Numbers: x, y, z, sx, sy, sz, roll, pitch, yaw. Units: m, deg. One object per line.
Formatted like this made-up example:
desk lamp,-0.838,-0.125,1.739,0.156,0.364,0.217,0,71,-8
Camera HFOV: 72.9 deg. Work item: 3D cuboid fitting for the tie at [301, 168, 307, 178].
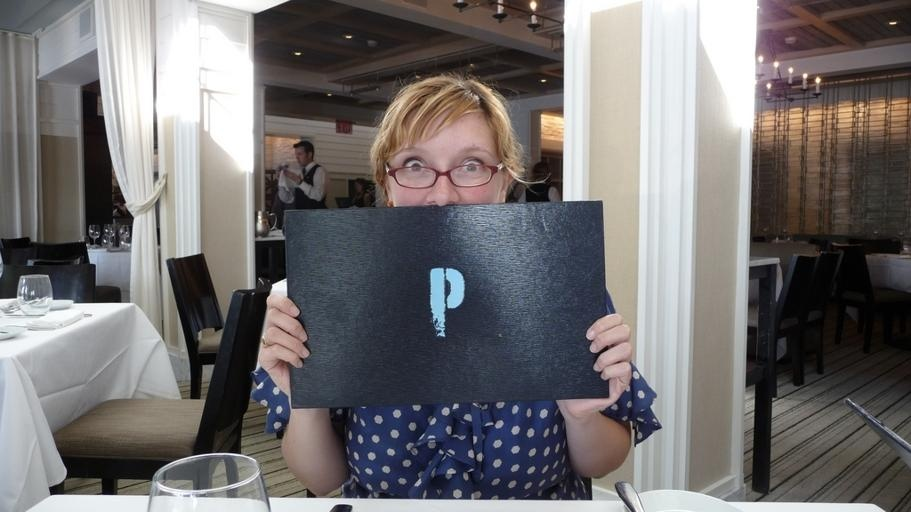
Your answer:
tie,-2.206,-1.212,8.995,0.099,0.118,0.028,4,32,7
